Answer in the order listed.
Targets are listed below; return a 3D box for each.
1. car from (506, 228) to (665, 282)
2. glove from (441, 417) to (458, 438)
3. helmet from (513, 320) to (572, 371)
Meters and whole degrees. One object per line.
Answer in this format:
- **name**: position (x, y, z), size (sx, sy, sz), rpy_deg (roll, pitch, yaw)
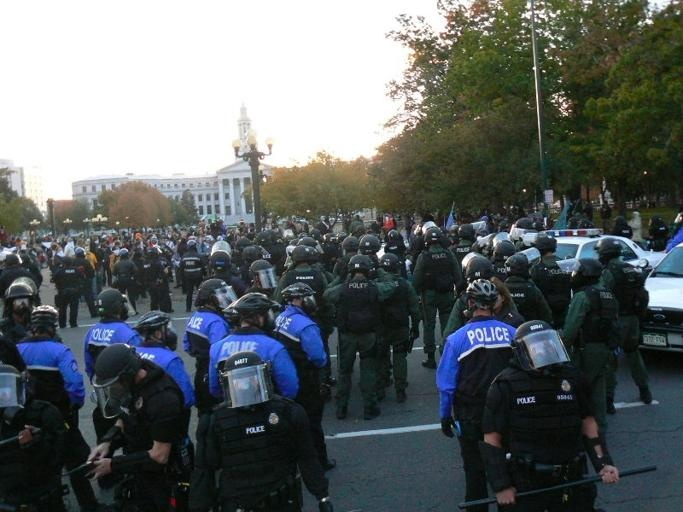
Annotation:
- **car**: position (5.241, -0.156, 15.061), size (2.603, 0.896, 1.542), rpy_deg (0, -1, -34)
- **glove**: position (1.071, 1.700, 7.314), size (0.098, 0.262, 0.196), rpy_deg (-22, -22, -4)
- **helmet**: position (1.717, 0.785, 6.444), size (0.443, 0.450, 0.532), rpy_deg (-11, -14, -8)
